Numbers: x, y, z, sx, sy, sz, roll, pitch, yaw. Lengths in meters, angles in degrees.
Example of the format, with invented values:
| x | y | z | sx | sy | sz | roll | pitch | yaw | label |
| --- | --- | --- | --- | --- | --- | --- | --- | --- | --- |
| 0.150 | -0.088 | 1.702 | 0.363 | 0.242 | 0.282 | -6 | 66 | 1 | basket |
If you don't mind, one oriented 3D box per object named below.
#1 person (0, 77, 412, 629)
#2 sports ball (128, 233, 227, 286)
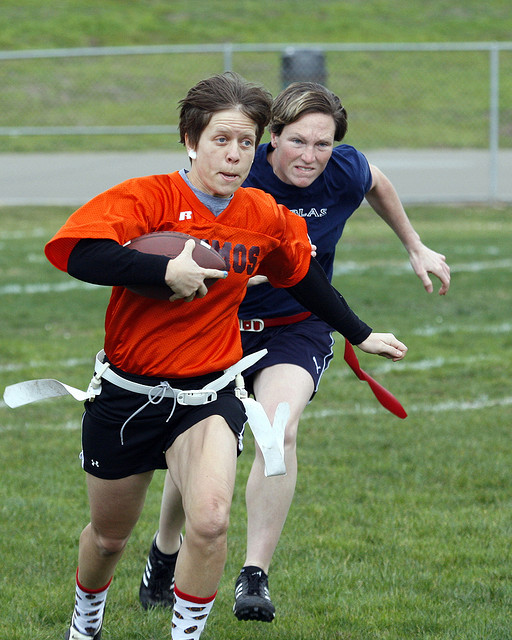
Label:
| x | y | z | sx | sy | sz | roll | pitch | yaw | label |
| --- | --- | --- | --- | --- | --- | --- | --- | --- | --- |
| -0.225 | 0.159 | 2.731 | 0.811 | 1.828 | 0.883 | 6 | 18 | 35 | person |
| -0.218 | -0.201 | 2.549 | 0.310 | 0.146 | 0.123 | 13 | 30 | -11 | sports ball |
